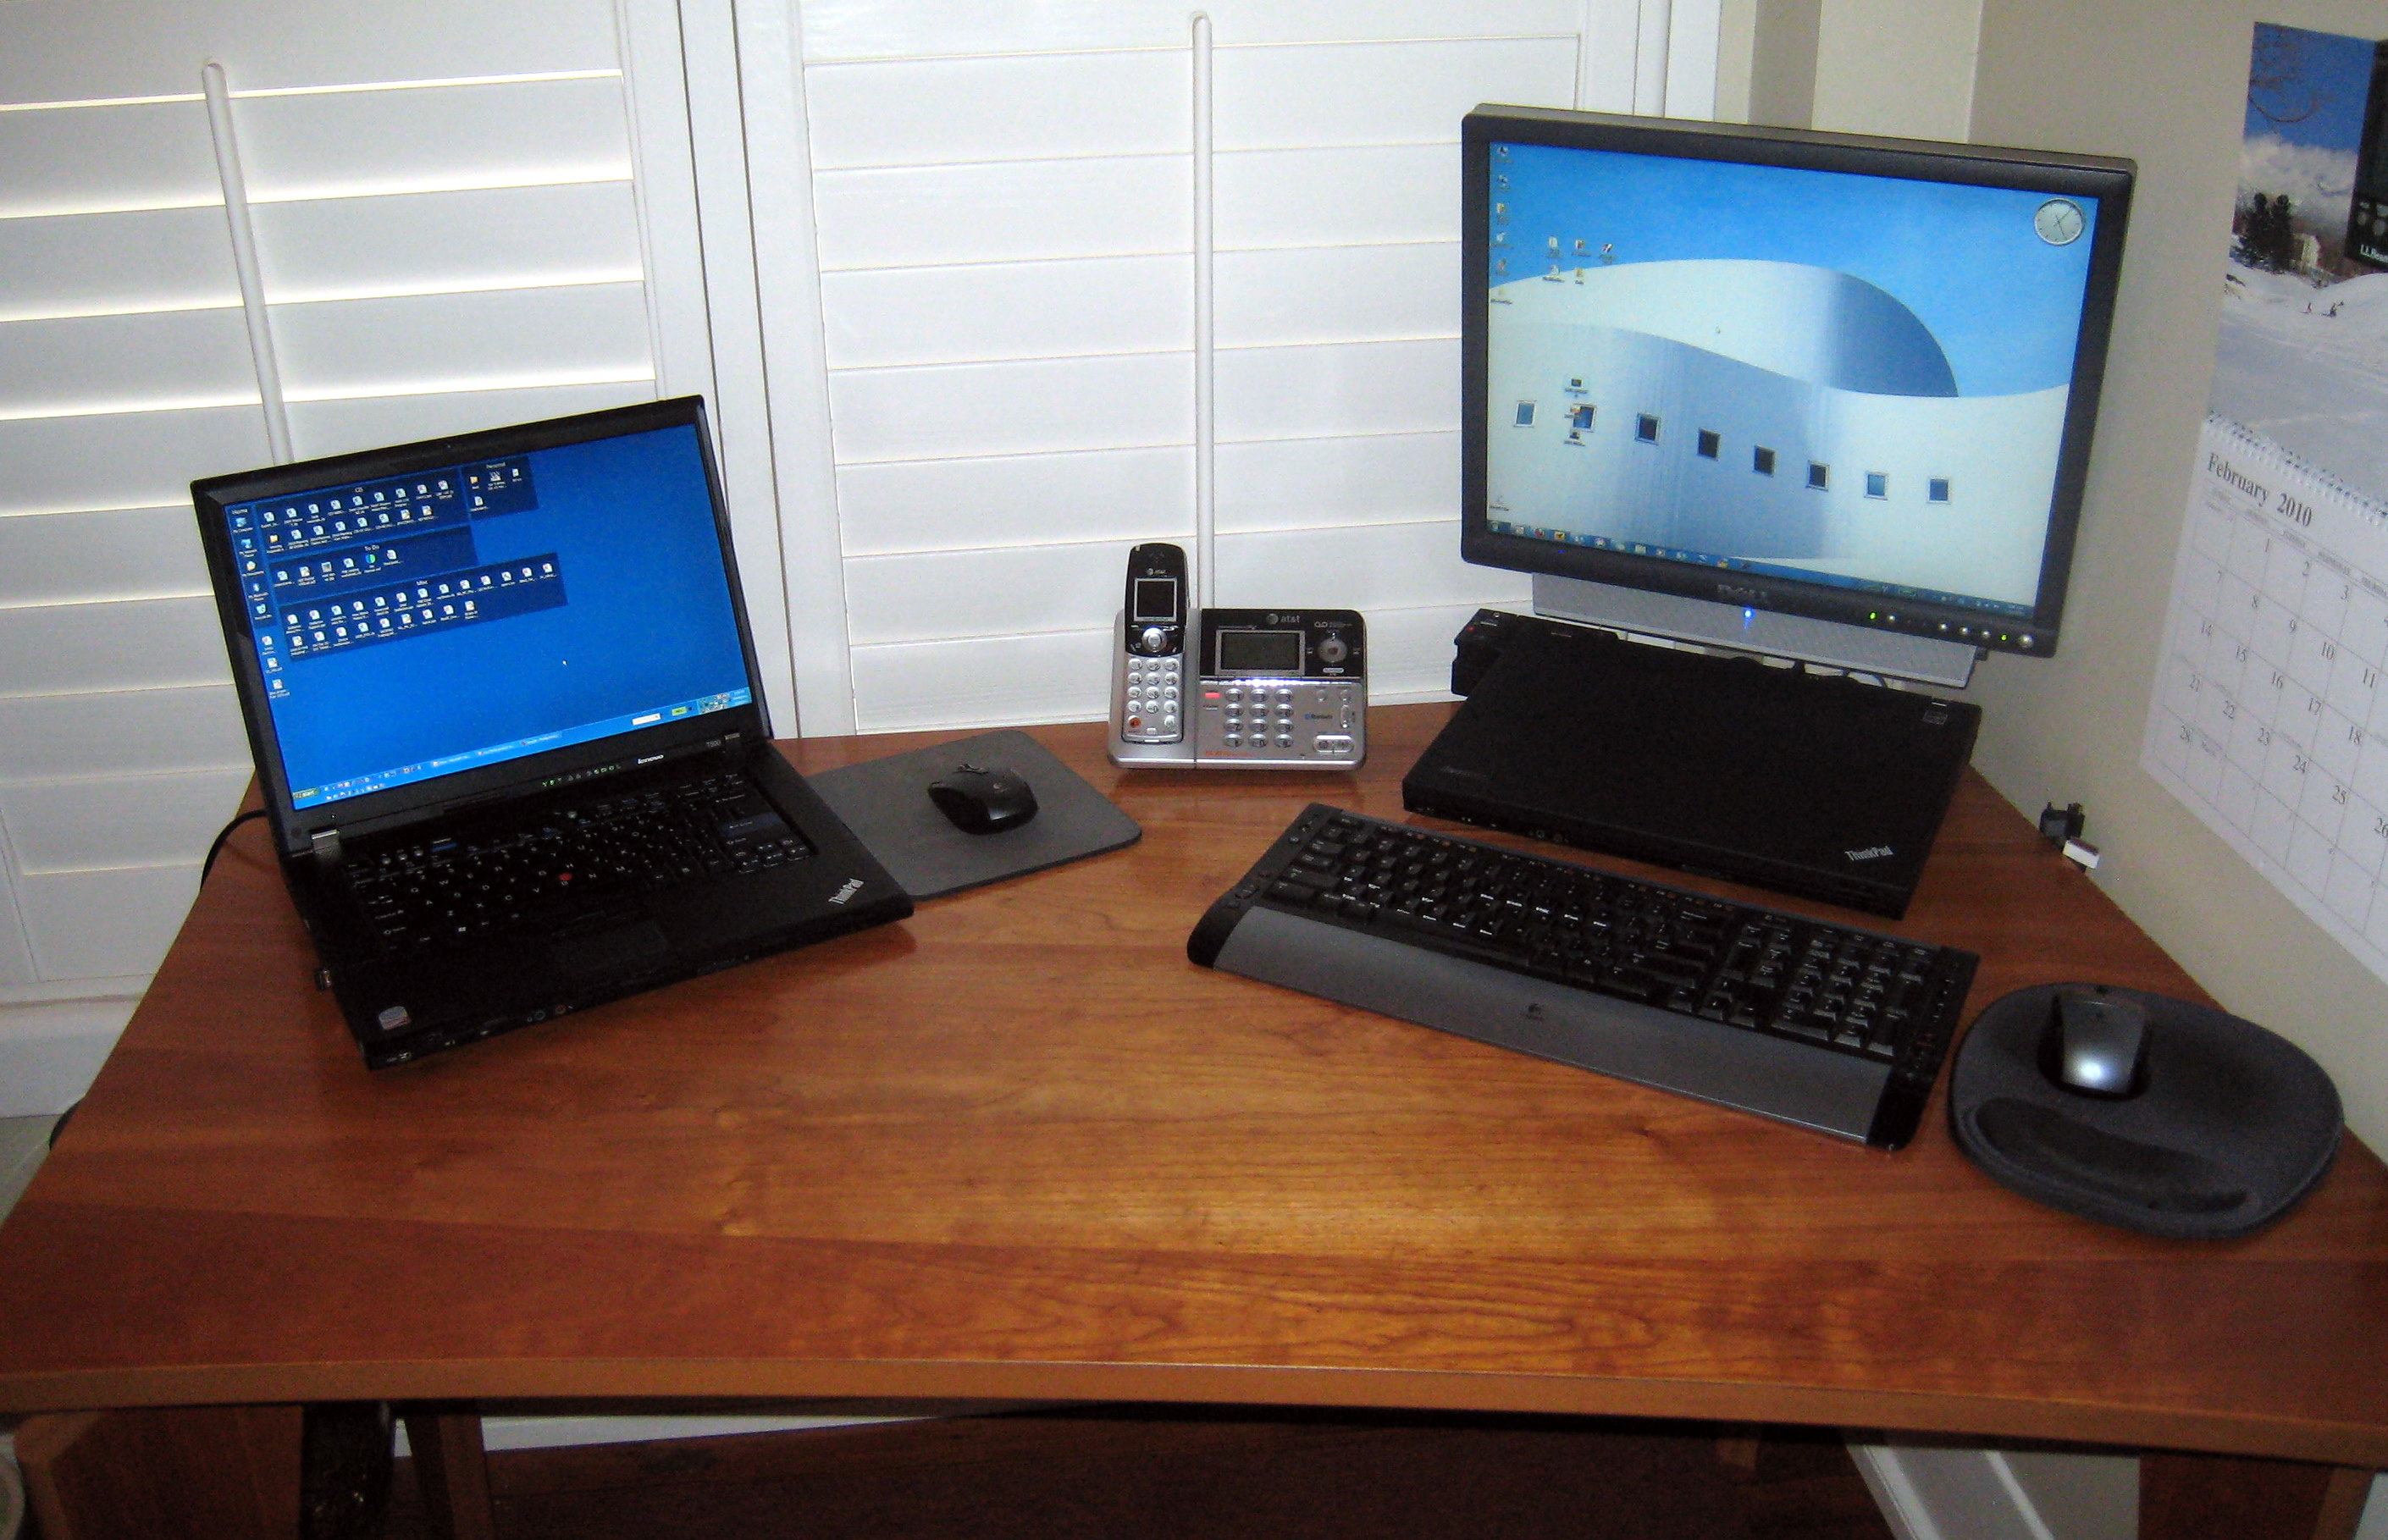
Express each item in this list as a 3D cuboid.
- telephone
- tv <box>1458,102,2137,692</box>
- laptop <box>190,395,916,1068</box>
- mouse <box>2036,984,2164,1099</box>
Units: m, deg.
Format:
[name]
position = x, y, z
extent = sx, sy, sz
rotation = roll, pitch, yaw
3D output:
[telephone]
position = 0.050, -0.101, 1.953
extent = 0.264, 0.103, 0.225
rotation = 0, 59, 2
[tv]
position = 0.605, -0.374, 1.708
extent = 0.641, 0.508, 0.101
rotation = 11, 37, 20
[laptop]
position = -0.591, -0.055, 1.627
extent = 0.576, 0.340, 0.518
rotation = -9, 39, -24
[mouse]
position = 0.775, 0.226, 1.493
extent = 0.076, 0.030, 0.108
rotation = 5, 44, 32
